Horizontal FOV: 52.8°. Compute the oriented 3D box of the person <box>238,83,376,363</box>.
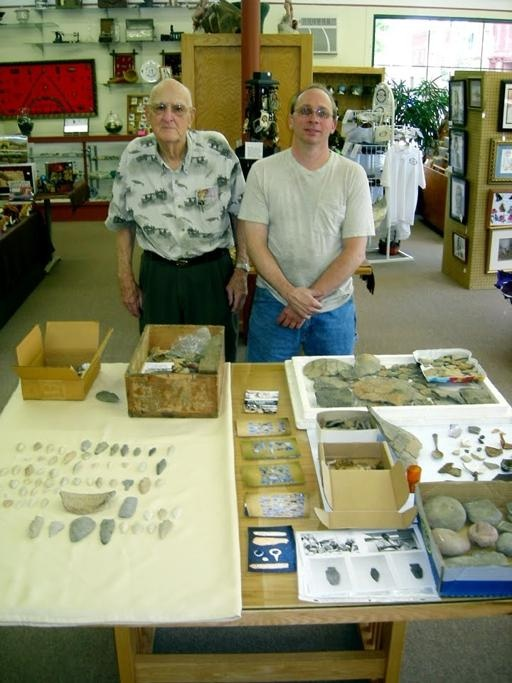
[{"bbox_3d":[0.187,-0.407,2.088,0.553,1.134,0.379,3,22,11],"label":"person"}]

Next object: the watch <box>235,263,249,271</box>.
[{"bbox_3d":[-0.055,-0.342,2.405,0.042,0.022,0.043,12,12,38],"label":"watch"}]

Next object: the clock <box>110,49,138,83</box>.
[{"bbox_3d":[-2.130,-4.461,8.385,0.553,0.620,0.061,0,6,-1],"label":"clock"}]

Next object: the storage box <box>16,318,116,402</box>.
[{"bbox_3d":[-0.625,0.058,1.684,0.240,0.137,0.296,1,28,0],"label":"storage box"}]

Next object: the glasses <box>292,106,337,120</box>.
[{"bbox_3d":[0.217,-0.859,1.949,0.154,0.047,0.089,0,21,3],"label":"glasses"}]
